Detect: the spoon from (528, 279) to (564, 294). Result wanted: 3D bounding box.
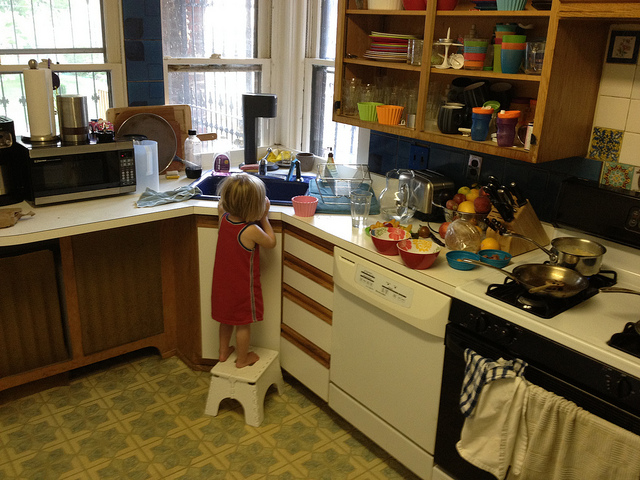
[{"bbox_3d":[0.873,0.178,1.762,0.116,0.017,0.061,-19,27,-27],"label":"spoon"}]

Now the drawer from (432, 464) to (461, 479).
[{"bbox_3d":[0.557,1.038,2.032,0.088,0.062,0.084,6,-7,35],"label":"drawer"}]

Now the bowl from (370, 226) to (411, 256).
[{"bbox_3d":[0.317,0.016,2.156,0.141,0.068,0.145,-4,15,1],"label":"bowl"}]

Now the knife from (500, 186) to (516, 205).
[{"bbox_3d":[0.873,-0.208,2.123,0.095,0.087,0.034,-5,20,-14],"label":"knife"}]

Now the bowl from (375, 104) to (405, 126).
[{"bbox_3d":[0.382,-0.693,2.517,0.117,0.073,0.122,1,13,0],"label":"bowl"}]

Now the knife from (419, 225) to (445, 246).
[{"bbox_3d":[0.575,-0.025,2.259,0.025,0.013,0.160,-5,30,-7],"label":"knife"}]

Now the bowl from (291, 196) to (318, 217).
[{"bbox_3d":[-0.086,-0.198,2.514,0.111,0.069,0.117,1,23,0],"label":"bowl"}]

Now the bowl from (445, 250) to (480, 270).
[{"bbox_3d":[0.633,0.086,2.019,0.093,0.037,0.096,2,27,-1],"label":"bowl"}]

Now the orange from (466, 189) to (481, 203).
[{"bbox_3d":[0.768,-0.224,2.294,0.059,0.064,0.061,-15,-13,22],"label":"orange"}]

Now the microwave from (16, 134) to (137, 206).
[{"bbox_3d":[-1.364,-0.404,2.632,0.561,0.333,0.125,-13,23,-32],"label":"microwave"}]

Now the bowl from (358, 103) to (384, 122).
[{"bbox_3d":[0.287,-0.730,2.621,0.118,0.088,0.117,0,15,0],"label":"bowl"}]

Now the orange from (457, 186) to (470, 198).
[{"bbox_3d":[0.736,-0.245,2.363,0.042,0.044,0.052,-31,2,1],"label":"orange"}]
